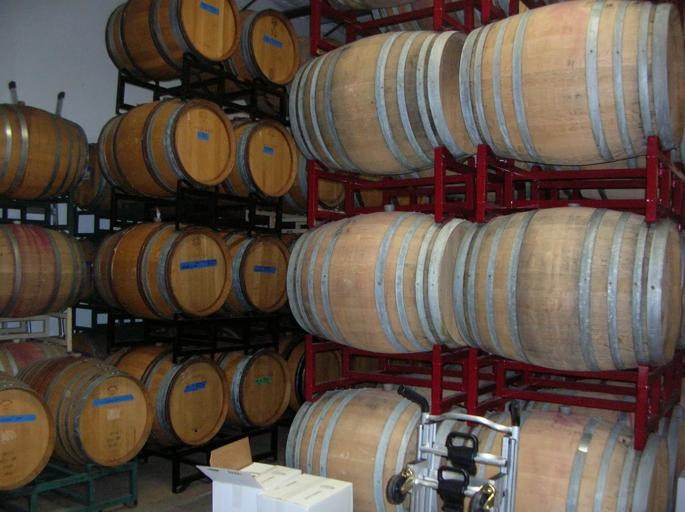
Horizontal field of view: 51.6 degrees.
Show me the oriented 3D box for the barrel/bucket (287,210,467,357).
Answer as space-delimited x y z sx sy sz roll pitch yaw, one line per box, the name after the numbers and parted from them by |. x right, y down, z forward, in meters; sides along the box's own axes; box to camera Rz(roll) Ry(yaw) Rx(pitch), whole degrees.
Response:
0.408 0.222 6.346 1.641 1.304 1.340 -1 2 28 | barrel/bucket

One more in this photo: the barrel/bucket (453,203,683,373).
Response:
1.643 0.228 5.393 1.521 1.197 0.523 0 -11 14 | barrel/bucket
